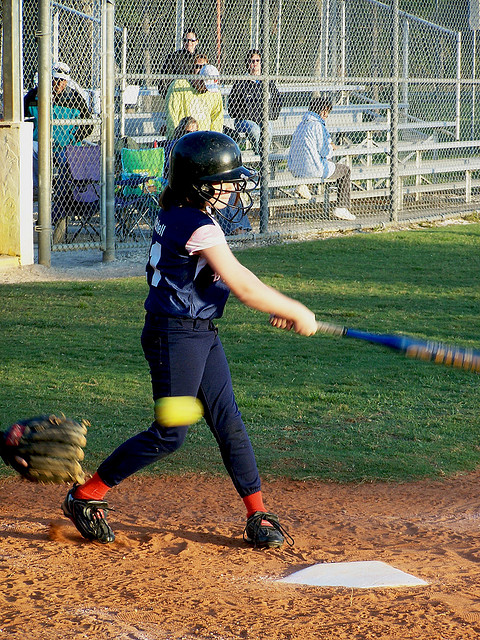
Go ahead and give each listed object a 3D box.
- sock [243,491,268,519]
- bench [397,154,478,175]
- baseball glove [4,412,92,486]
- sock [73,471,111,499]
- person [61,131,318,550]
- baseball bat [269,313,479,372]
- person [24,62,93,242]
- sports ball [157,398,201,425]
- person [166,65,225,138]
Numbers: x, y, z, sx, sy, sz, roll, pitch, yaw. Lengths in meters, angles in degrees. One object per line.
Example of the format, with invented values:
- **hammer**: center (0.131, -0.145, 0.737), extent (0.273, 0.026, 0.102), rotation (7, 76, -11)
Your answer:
- **sock**: center (0.058, 0.678, 3.566), extent (0.070, 0.090, 0.072), rotation (-2, 14, -17)
- **bench**: center (2.802, -2.197, 13.762), extent (1.038, 0.148, 2.706), rotation (5, 13, 13)
- **baseball glove**: center (-0.707, 0.485, 3.606), extent (0.364, 0.271, 0.093), rotation (7, 14, 19)
- **sock**: center (-0.529, 0.592, 3.491), extent (0.131, 0.100, 0.040), rotation (2, 13, -1)
- **person**: center (-0.167, 0.095, 3.462), extent (0.874, 1.492, 0.442), rotation (3, 13, 4)
- **baseball bat**: center (0.752, 0.145, 5.675), extent (1.199, 0.144, 0.141), rotation (9, -33, 7)
- **person**: center (-1.825, -1.685, 9.430), extent (0.652, 1.420, 0.443), rotation (1, -19, -30)
- **sports ball**: center (-0.202, 0.310, 3.326), extent (0.181, 0.112, 0.095), rotation (2, -5, -26)
- **person**: center (-0.411, -2.207, 9.969), extent (0.498, 0.717, 0.398), rotation (3, -20, -2)
